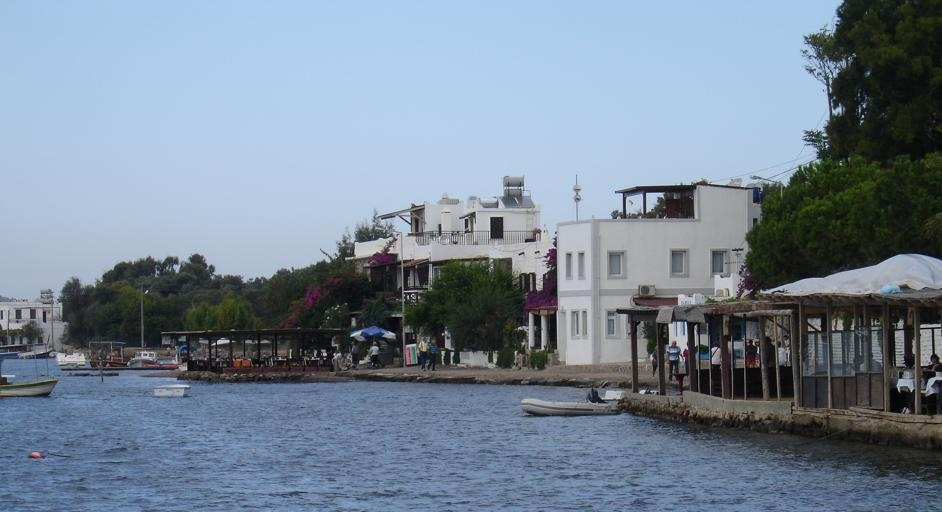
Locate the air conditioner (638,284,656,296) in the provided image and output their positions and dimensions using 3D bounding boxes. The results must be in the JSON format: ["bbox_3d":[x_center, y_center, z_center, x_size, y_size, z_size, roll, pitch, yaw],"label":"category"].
[{"bbox_3d":[14.351,2.883,154.559,1.428,0.934,0.878,1,-5,-6],"label":"air conditioner"}]

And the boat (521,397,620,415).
[{"bbox_3d":[6.939,10.924,133.138,6.881,1.146,2.295,2,-5,-6],"label":"boat"}]

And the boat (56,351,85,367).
[{"bbox_3d":[-47.569,12.495,221.255,3.543,1.165,2.452,1,-1,-4],"label":"boat"}]

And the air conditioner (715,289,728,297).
[{"bbox_3d":[19.885,2.931,149.326,0.542,0.626,0.978,-4,4,-43],"label":"air conditioner"}]
